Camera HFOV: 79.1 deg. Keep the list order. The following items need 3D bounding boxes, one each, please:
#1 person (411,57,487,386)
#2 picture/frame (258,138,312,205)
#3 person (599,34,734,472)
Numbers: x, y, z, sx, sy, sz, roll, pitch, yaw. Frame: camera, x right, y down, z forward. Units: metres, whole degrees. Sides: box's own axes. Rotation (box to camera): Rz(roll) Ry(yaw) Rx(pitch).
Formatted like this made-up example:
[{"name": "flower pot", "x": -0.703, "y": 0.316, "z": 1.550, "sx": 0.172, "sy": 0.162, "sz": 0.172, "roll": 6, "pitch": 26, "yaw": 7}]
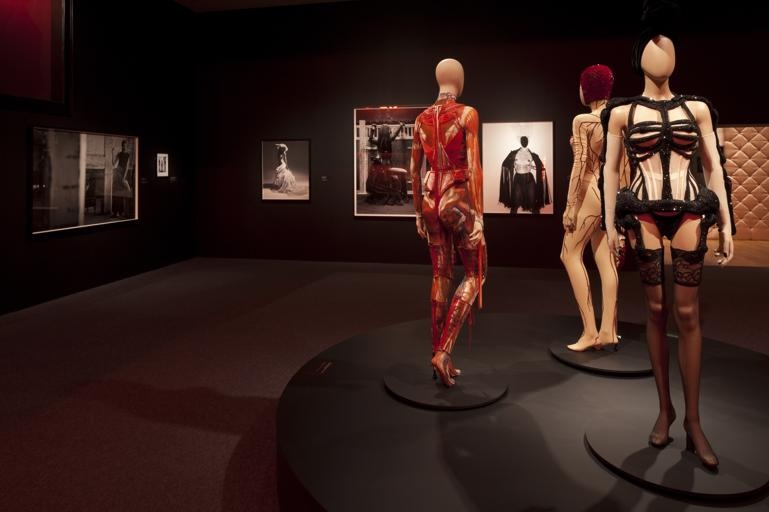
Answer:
[{"name": "person", "x": 0.540, "y": -0.311, "z": 4.007, "sx": 0.625, "sy": 2.688, "sz": 0.878, "roll": -1, "pitch": 13, "yaw": 9}, {"name": "picture/frame", "x": -2.088, "y": -1.831, "z": 9.922, "sx": 1.314, "sy": 1.730, "sz": 0.124, "roll": 0, "pitch": 4, "yaw": 7}, {"name": "person", "x": 1.929, "y": -0.090, "z": 3.206, "sx": 0.748, "sy": 2.944, "sz": 0.686, "roll": 1, "pitch": 9, "yaw": 43}]
